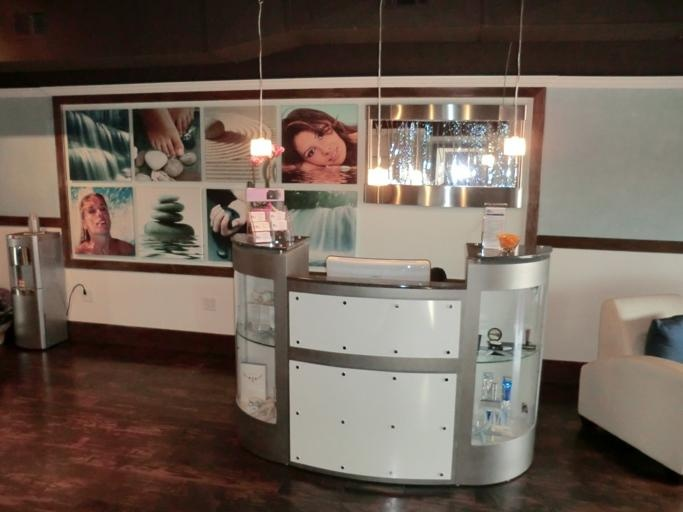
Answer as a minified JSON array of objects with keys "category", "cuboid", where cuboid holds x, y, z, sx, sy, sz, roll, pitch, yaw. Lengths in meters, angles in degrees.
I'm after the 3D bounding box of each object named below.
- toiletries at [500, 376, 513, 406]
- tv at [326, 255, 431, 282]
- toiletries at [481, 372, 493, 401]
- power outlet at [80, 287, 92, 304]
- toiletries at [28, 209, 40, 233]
[{"category":"toiletries","cuboid":[1.294,1.064,4.461,0.079,0.243,0.030,-5,11,-17]},{"category":"tv","cuboid":[0.300,0.106,4.588,0.829,0.188,0.222,0,11,5]},{"category":"toiletries","cuboid":[1.142,1.020,4.450,0.092,0.223,0.027,0,11,9]},{"category":"power outlet","cuboid":[-3.116,0.489,6.986,0.182,0.173,0.043,6,6,4]},{"category":"toiletries","cuboid":[-3.596,-0.381,6.678,0.106,0.223,0.194,-7,12,-29]}]
